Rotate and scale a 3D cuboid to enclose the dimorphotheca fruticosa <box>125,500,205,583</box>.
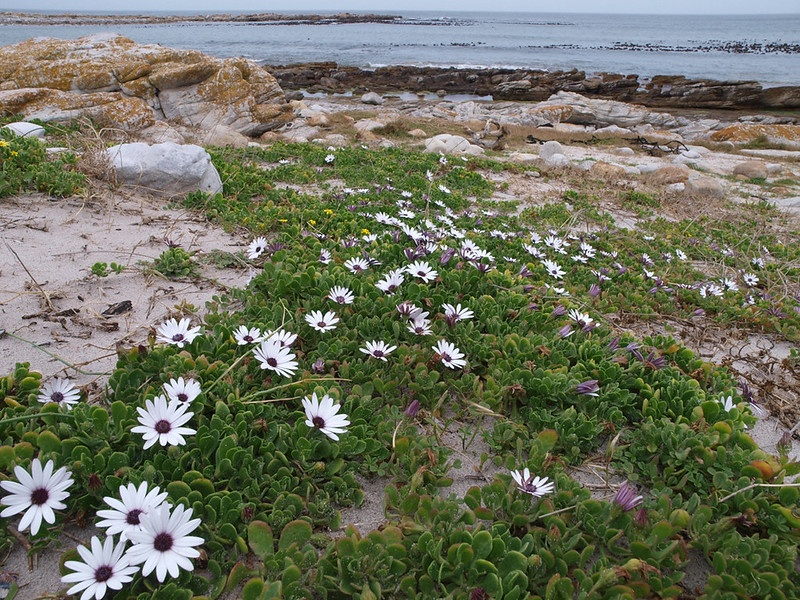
[{"bbox_3d":[-1.369,1.390,3.615,0.391,0.305,0.324,14,34,15],"label":"dimorphotheca fruticosa"}]

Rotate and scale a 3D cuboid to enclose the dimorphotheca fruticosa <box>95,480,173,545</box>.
[{"bbox_3d":[-1.596,1.229,3.691,0.346,0.099,0.372,-14,56,6],"label":"dimorphotheca fruticosa"}]
